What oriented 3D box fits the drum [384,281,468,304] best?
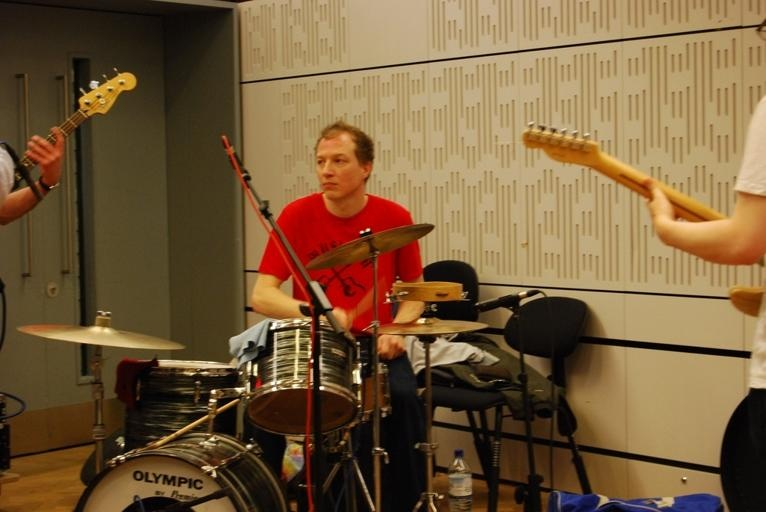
[{"bbox_3d":[0.258,0.208,5.246,0.398,0.120,0.316,2,-2,10],"label":"drum"}]

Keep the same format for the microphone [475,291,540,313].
[{"bbox_3d":[0.821,0.303,5.892,0.365,0.113,0.086,-17,1,18],"label":"microphone"}]

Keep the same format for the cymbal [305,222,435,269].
[{"bbox_3d":[-0.091,-0.036,4.891,0.378,0.080,0.380,-1,-29,-46],"label":"cymbal"}]

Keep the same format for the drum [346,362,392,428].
[{"bbox_3d":[-0.084,0.775,5.019,0.318,0.321,0.319,1,-1,43],"label":"drum"}]

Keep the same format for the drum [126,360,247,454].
[{"bbox_3d":[-1.157,0.828,5.416,0.541,0.606,0.564,0,-3,9],"label":"drum"}]

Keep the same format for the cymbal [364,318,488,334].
[{"bbox_3d":[0.234,0.397,5.122,0.707,0.096,0.299,3,-2,-22],"label":"cymbal"}]

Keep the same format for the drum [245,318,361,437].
[{"bbox_3d":[-0.378,0.643,4.985,0.576,0.470,0.639,-19,-44,20],"label":"drum"}]
